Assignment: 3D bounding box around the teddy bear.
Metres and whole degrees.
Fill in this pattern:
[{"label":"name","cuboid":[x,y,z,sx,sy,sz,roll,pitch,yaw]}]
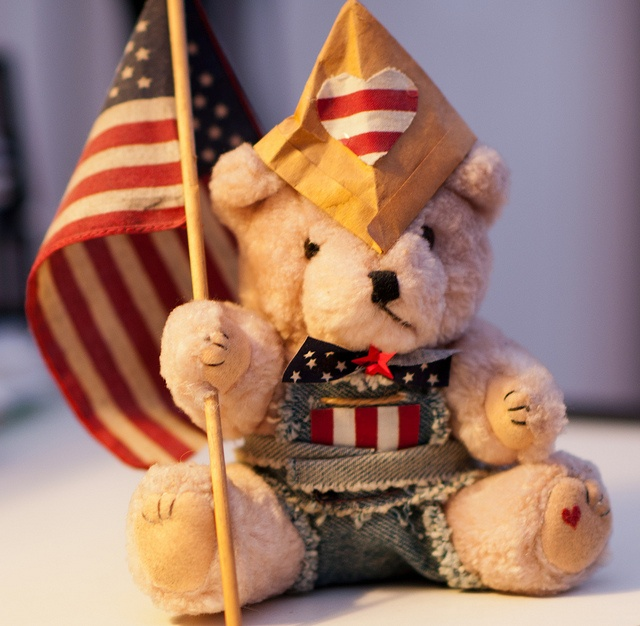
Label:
[{"label":"teddy bear","cuboid":[0.055,0.046,1.495,0.510,0.305,0.762,-19,72,-14]}]
